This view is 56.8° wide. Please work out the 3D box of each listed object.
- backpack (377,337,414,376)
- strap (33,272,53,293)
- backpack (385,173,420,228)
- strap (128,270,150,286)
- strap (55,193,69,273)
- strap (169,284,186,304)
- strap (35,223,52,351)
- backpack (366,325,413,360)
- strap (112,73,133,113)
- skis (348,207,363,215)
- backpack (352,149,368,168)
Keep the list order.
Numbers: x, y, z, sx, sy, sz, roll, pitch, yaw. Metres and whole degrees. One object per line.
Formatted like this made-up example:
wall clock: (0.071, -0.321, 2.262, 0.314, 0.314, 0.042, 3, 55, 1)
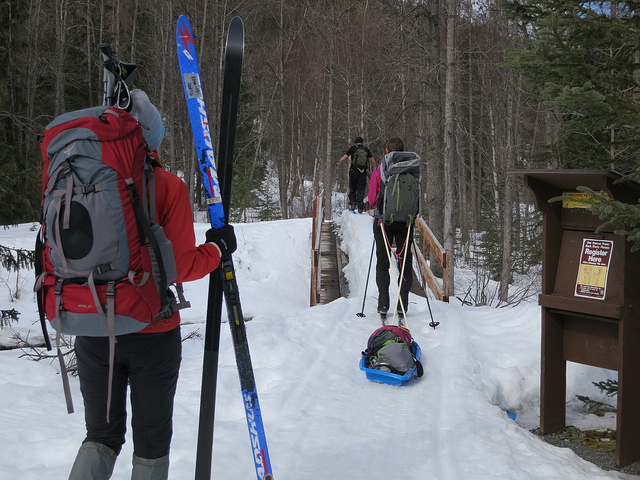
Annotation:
backpack: (0.869, 1.368, 6.857, 0.396, 0.321, 0.228, 1, 6, 8)
strap: (-2.071, 0.311, 4.414, 0.101, 0.171, 0.037, 5, -5, 17)
backpack: (1.107, -0.546, 8.025, 0.449, 0.723, 0.189, 1, 6, 10)
strap: (-1.306, 0.287, 4.239, 0.084, 0.137, 0.054, 7, -21, -9)
strap: (-1.856, -0.027, 4.266, 0.074, 0.525, 0.036, 4, 1, -5)
strap: (-1.107, 0.435, 4.606, 0.037, 0.162, 0.093, -19, 9, -9)
strap: (-2.089, 0.379, 4.476, 0.085, 1.000, 0.162, -1, 10, -13)
backpack: (0.828, 1.156, 7.117, 0.334, 0.476, 0.461, 13, 26, 33)
strap: (-1.536, -1.132, 4.546, 0.097, 0.088, 0.241, 24, 28, -23)
skis: (0.989, -0.806, 16.480, 0.235, 0.181, 0.083, 27, 56, 39)
backpack: (1.010, -2.116, 15.201, 0.439, 0.700, 0.345, -1, 8, -5)
